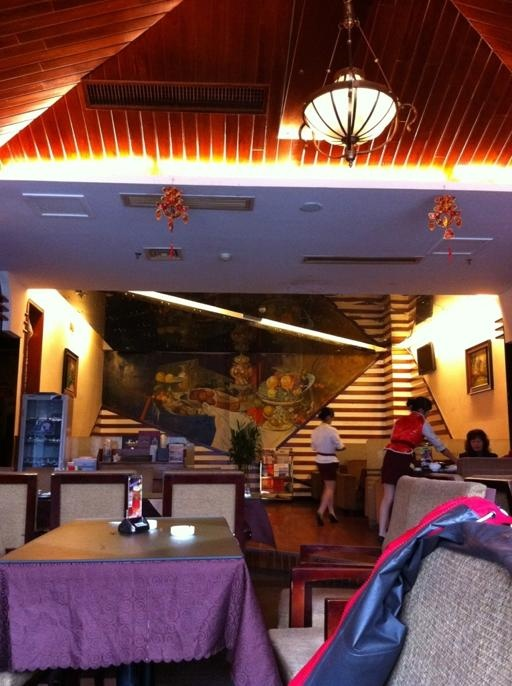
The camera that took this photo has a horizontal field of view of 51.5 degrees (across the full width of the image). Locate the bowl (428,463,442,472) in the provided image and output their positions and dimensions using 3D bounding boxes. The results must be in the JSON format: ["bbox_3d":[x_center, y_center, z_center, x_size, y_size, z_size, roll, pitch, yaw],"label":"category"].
[{"bbox_3d":[1.921,1.328,5.633,0.088,0.060,0.086,-4,-3,0],"label":"bowl"}]

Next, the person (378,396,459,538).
[{"bbox_3d":[1.674,1.335,5.473,0.845,1.511,0.691,10,-12,4],"label":"person"}]
